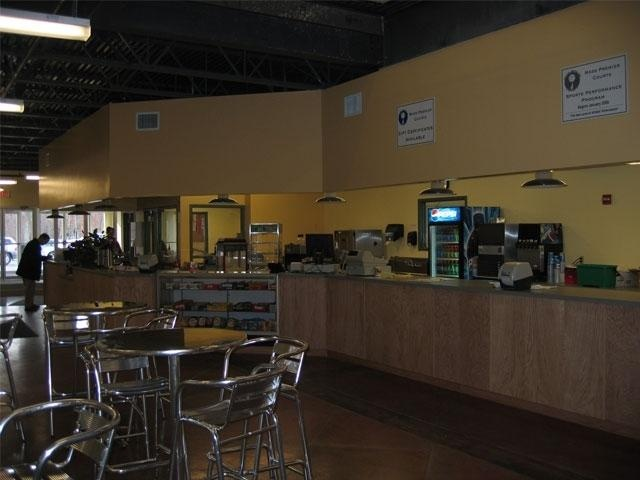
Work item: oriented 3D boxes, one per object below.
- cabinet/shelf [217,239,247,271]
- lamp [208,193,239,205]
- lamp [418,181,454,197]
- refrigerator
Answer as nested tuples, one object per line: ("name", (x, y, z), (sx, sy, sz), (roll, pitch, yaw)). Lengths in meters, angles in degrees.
("cabinet/shelf", (-1.347, 0.219, 8.388), (0.442, 0.450, 0.451), (0, 0, -6))
("lamp", (-1.556, -0.632, 8.617), (0.264, 0.120, 0.275), (-1, 1, 42))
("lamp", (1.513, -0.673, 7.098), (0.421, 0.200, 0.431), (0, -2, -11))
("refrigerator", (2.587, 0.015, 10.272), (0.784, 1.332, 1.233), (-4, 6, -37))
